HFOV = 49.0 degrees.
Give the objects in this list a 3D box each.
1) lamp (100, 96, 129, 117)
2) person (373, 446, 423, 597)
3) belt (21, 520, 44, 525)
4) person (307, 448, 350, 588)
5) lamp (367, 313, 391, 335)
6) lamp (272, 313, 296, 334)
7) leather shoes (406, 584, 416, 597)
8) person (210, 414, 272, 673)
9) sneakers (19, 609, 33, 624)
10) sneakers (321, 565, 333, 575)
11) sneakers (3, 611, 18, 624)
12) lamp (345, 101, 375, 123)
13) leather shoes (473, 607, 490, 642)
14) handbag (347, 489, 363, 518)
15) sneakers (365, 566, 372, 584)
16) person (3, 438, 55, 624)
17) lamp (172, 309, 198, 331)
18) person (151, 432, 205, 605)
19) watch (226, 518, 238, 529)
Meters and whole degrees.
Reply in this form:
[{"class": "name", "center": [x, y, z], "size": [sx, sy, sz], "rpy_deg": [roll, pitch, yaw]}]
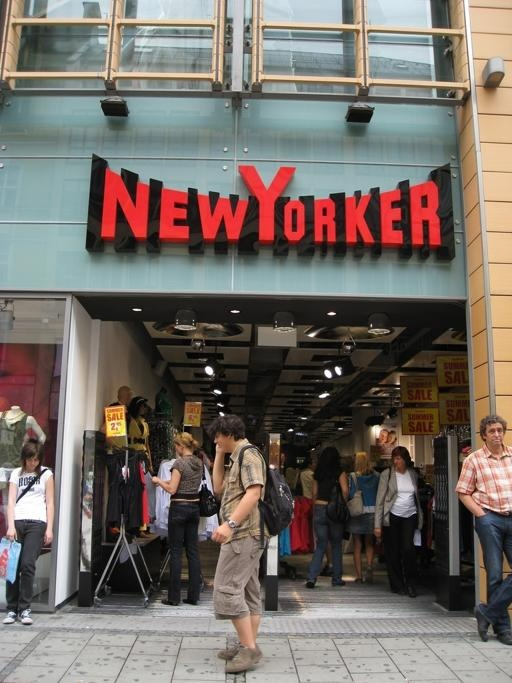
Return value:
[{"class": "lamp", "center": [-1.354, -2.254, 5.375], "size": [0.238, 0.154, 0.174], "rpy_deg": [3, -8, 1]}, {"class": "person", "center": [1.521, 1.922, 6.060], "size": [0.482, 1.564, 0.482], "rpy_deg": [1, -9, 12]}, {"class": "belt", "center": [-1.731, 1.401, 4.385], "size": [0.155, 0.038, 0.036], "rpy_deg": [8, -9, -39]}, {"class": "person", "center": [0.852, 2.073, 6.638], "size": [0.444, 1.632, 0.607], "rpy_deg": [2, -9, 9]}, {"class": "lamp", "center": [1.238, -0.177, 5.646], "size": [0.221, 0.189, 0.298], "rpy_deg": [1, -7, 10]}, {"class": "lamp", "center": [0.281, -0.195, 5.668], "size": [0.206, 0.184, 0.326], "rpy_deg": [2, -7, 3]}, {"class": "leather shoes", "center": [1.639, 2.620, 5.930], "size": [0.050, 0.061, 0.151], "rpy_deg": [-3, -8, 4]}, {"class": "person", "center": [-0.112, 1.172, 3.237], "size": [0.352, 1.473, 0.692], "rpy_deg": [3, -8, -1]}, {"class": "sneakers", "center": [-1.730, 2.061, 4.212], "size": [0.060, 0.072, 0.171], "rpy_deg": [6, -16, -19]}, {"class": "sneakers", "center": [0.933, 2.991, 7.355], "size": [0.091, 0.110, 0.260], "rpy_deg": [2, -7, 3]}, {"class": "sneakers", "center": [-1.847, 2.072, 4.215], "size": [0.079, 0.070, 0.159], "rpy_deg": [5, -7, -12]}, {"class": "lamp", "center": [1.022, -2.242, 5.478], "size": [0.290, 0.209, 0.148], "rpy_deg": [3, -8, -2]}, {"class": "leather shoes", "center": [1.588, 1.975, 3.947], "size": [0.091, 0.256, 0.113], "rpy_deg": [-7, 5, -19]}, {"class": "handbag", "center": [1.211, 1.985, 6.864], "size": [0.139, 0.244, 0.330], "rpy_deg": [5, 24, -6]}, {"class": "sneakers", "center": [1.351, 2.802, 6.747], "size": [0.066, 0.171, 0.069], "rpy_deg": [-1, -6, 16]}, {"class": "person", "center": [-1.775, 1.459, 4.369], "size": [0.355, 1.334, 0.294], "rpy_deg": [6, -9, -17]}, {"class": "lamp", "center": [-0.710, -0.220, 5.639], "size": [0.198, 0.191, 0.251], "rpy_deg": [4, -8, -8]}, {"class": "person", "center": [-0.739, 1.679, 5.341], "size": [0.495, 1.581, 0.650], "rpy_deg": [4, -8, -4]}, {"class": "watch", "center": [-0.129, 0.988, 3.034], "size": [0.047, 0.060, 0.069], "rpy_deg": [-2, -9, 33]}]
